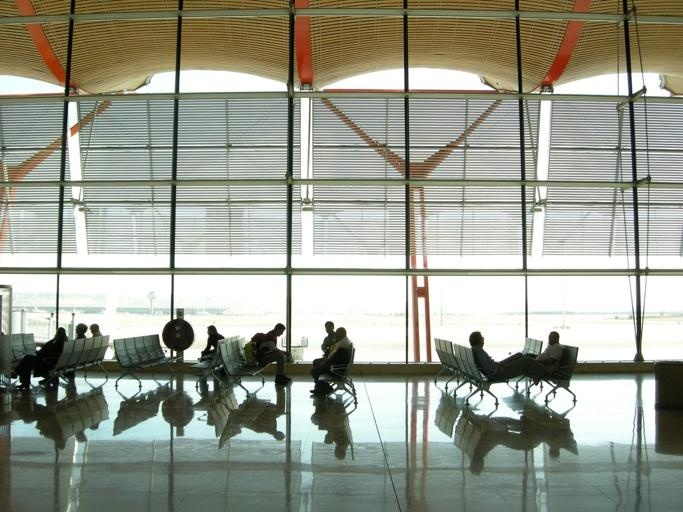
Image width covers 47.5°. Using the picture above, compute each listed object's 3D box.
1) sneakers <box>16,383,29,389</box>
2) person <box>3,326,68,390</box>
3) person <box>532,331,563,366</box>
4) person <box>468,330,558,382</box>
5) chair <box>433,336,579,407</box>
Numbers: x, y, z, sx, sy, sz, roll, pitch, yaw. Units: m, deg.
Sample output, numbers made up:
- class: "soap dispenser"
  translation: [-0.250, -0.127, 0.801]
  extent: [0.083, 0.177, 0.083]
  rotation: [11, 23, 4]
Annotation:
- class: "sneakers"
  translation: [-6.387, 2.608, 15.573]
  extent: [0.221, 0.124, 0.437]
  rotation: [4, -9, -30]
- class: "person"
  translation: [-6.299, 2.148, 16.058]
  extent: [1.353, 1.454, 1.006]
  rotation: [10, -4, -4]
- class: "person"
  translation: [4.113, 1.808, 15.335]
  extent: [0.538, 0.635, 0.838]
  rotation: [1, 3, 4]
- class: "person"
  translation: [3.433, 1.972, 15.179]
  extent: [1.442, 0.690, 0.717]
  rotation: [0, 8, -2]
- class: "chair"
  translation: [3.326, 2.194, 15.035]
  extent: [1.769, 0.644, 2.045]
  rotation: [-2, -1, -4]
